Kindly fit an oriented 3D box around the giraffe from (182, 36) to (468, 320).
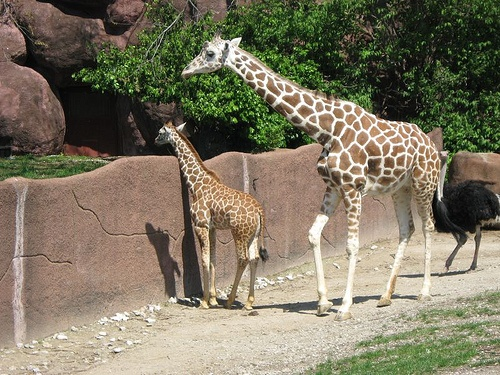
[{"bbox_3d":[1.518,-0.313,16.897,3.864,4.937,1.373,-1,10,10],"label":"giraffe"}]
